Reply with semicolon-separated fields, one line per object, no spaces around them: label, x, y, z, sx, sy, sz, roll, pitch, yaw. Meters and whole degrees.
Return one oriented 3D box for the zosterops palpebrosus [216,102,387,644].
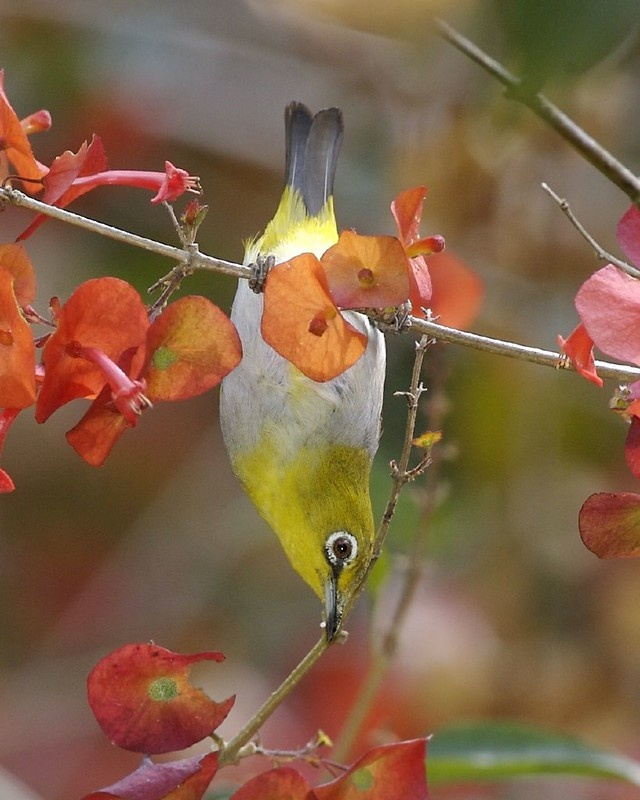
zosterops palpebrosus;0.001;-0.074;1.878;0.287;0.341;0.800;-1;97;-6
